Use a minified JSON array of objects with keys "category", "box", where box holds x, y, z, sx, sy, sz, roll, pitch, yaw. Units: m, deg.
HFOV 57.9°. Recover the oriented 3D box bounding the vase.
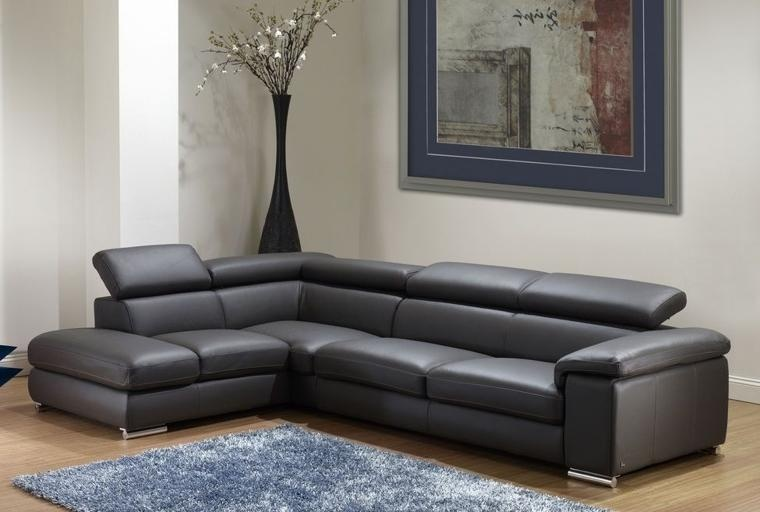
[{"category":"vase","box":[-0.906,-0.749,6.152,0.353,1.429,0.455,-1,8,-7]}]
